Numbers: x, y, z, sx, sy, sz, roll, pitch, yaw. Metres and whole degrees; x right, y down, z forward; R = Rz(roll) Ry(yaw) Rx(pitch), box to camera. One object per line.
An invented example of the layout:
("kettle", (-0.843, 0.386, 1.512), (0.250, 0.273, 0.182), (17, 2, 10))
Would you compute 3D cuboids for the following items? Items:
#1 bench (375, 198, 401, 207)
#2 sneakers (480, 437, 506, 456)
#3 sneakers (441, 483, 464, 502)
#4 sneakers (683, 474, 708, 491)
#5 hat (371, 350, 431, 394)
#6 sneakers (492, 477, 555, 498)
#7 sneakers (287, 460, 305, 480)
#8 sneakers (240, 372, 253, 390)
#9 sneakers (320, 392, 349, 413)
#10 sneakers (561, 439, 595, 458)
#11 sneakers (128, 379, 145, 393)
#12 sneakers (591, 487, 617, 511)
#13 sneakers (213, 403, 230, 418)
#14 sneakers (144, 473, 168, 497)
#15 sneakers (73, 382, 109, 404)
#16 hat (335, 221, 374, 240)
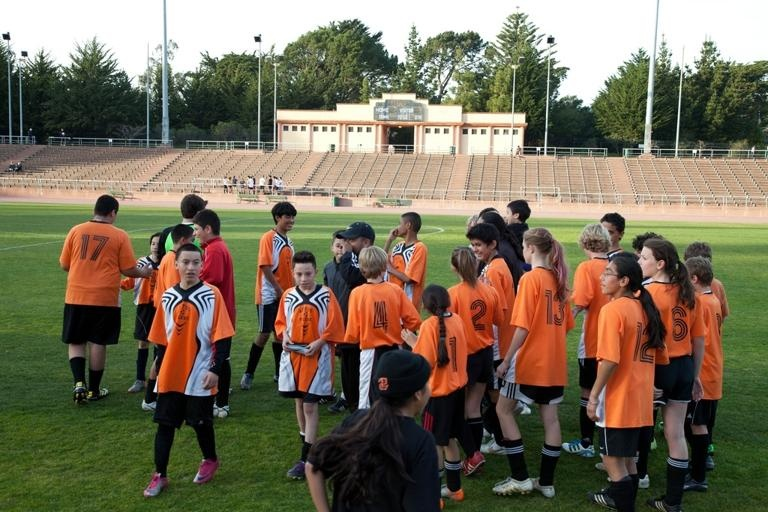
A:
("bench", (0.349, -3.537, 47.631), (1.502, 0.522, 0.503), (1, -11, -6))
("sneakers", (1.306, 2.319, 8.582), (0.261, 0.119, 0.135), (4, 7, 9))
("sneakers", (0.739, 2.562, 7.711), (0.317, 0.141, 0.119), (7, 9, 28))
("sneakers", (3.419, 2.548, 7.929), (0.347, 0.161, 0.131), (4, 1, 4))
("hat", (0.168, 0.993, 6.105), (0.325, 0.324, 0.431), (-3, 3, 7))
("sneakers", (1.521, 2.512, 7.872), (0.671, 0.296, 0.254), (5, -4, 2))
("sneakers", (-0.977, 2.398, 7.919), (0.169, 0.176, 0.230), (-5, 9, -36))
("sneakers", (-1.890, 1.766, 9.871), (0.097, 0.133, 0.293), (4, 0, -7))
("sneakers", (-0.600, 1.985, 9.545), (0.205, 0.266, 0.594), (0, -8, 20))
("sneakers", (2.343, 2.310, 8.584), (0.428, 0.216, 0.159), (4, 4, 16))
("sneakers", (-3.347, 1.791, 9.669), (0.099, 0.106, 0.244), (-1, -5, 3))
("sneakers", (2.336, 2.602, 7.635), (0.114, 0.127, 0.316), (2, 14, -33))
("sneakers", (-2.109, 1.997, 9.160), (0.338, 0.162, 0.127), (7, 3, 44))
("sneakers", (-2.428, 2.482, 7.672), (0.137, 0.134, 0.292), (1, -2, 5))
("sneakers", (-3.838, 1.789, 9.321), (0.190, 0.254, 0.557), (1, 4, 10))
("hat", (-0.345, -0.322, 8.959), (0.374, 0.201, 0.236), (1, 1, -7))
